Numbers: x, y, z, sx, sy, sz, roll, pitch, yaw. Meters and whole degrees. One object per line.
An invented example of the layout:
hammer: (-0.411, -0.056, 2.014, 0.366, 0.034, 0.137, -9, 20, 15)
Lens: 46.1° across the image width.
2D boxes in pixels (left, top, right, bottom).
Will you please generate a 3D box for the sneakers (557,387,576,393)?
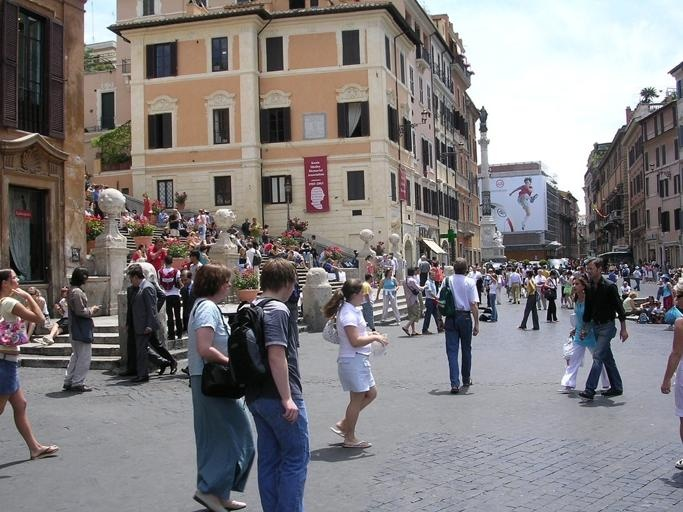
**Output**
sneakers: (3.702, 2.223, 13.284, 0.313, 0.131, 0.107, -2, -8, 38)

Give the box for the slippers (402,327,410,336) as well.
slippers: (1.773, 2.077, 22.052, 0.119, 0.304, 0.103, -23, 15, 12)

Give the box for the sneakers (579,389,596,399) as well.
sneakers: (3.872, 2.194, 12.679, 0.280, 0.118, 0.102, 20, -12, -23)

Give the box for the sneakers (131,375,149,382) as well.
sneakers: (-3.700, 2.260, 14.792, 0.307, 0.122, 0.111, 4, -5, -6)

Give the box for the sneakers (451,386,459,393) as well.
sneakers: (1.901, 2.223, 13.394, 0.122, 0.047, 0.159, 2, 0, 8)

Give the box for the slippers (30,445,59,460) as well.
slippers: (-3.809, 2.497, 10.288, 0.276, 0.091, 0.162, -10, 4, -12)

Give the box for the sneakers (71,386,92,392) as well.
sneakers: (-4.500, 2.295, 13.934, 0.327, 0.136, 0.119, 0, -1, -14)

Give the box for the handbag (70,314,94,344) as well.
handbag: (-4.441, 1.237, 13.699, 0.263, 0.465, 0.483, -8, 6, -29)

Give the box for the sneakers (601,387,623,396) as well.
sneakers: (4.377, 2.212, 13.052, 0.379, 0.159, 0.129, 2, -4, 2)

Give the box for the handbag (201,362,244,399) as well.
handbag: (-1.277, 1.313, 8.583, 0.460, 0.415, 0.226, -2, -19, -5)
